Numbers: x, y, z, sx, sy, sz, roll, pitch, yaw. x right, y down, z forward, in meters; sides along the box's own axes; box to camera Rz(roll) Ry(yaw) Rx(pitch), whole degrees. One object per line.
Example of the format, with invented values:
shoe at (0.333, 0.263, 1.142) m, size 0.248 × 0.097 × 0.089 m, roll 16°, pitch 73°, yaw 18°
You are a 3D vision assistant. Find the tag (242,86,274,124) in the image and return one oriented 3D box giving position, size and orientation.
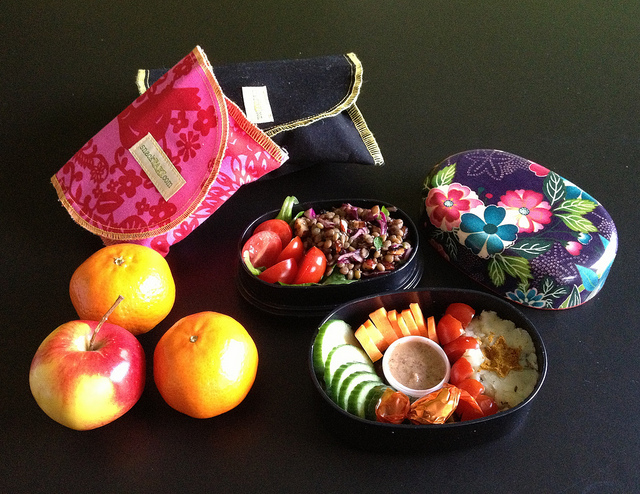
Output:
tag at (-0.154, -0.342, 1.553) m, size 0.073 × 0.026 × 0.118 m, roll -4°, pitch 82°, yaw -12°

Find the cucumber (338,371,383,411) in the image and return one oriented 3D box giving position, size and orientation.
cucumber at (0.075, 0.272, 1.223) m, size 0.017 × 0.067 × 0.069 m, roll 15°, pitch 20°, yaw -15°

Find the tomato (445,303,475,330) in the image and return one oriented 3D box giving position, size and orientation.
tomato at (0.279, 0.134, 1.297) m, size 0.049 × 0.047 × 0.036 m, roll 9°, pitch 88°, yaw 3°

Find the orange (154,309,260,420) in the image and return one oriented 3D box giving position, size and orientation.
orange at (-0.205, 0.245, 1.268) m, size 0.178 × 0.141 × 0.187 m, roll 28°, pitch 68°, yaw 21°

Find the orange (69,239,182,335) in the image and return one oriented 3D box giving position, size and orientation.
orange at (-0.390, 0.083, 1.293) m, size 0.185 × 0.151 × 0.189 m, roll -4°, pitch 39°, yaw -7°

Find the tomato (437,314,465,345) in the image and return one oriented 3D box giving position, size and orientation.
tomato at (0.266, 0.160, 1.301) m, size 0.047 × 0.044 × 0.055 m, roll -28°, pitch 21°, yaw 28°

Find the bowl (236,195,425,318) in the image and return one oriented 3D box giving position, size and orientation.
bowl at (0.018, 0.023, 1.370) m, size 0.334 × 0.104 × 0.252 m, roll -9°, pitch 58°, yaw 0°

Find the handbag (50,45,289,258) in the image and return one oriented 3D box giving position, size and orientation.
handbag at (-0.343, -0.175, 1.596) m, size 0.400 × 0.128 × 0.524 m, roll 45°, pitch 96°, yaw 12°

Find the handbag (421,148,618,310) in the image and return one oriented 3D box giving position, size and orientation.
handbag at (0.432, -0.015, 1.483) m, size 0.395 × 0.122 × 0.286 m, roll 27°, pitch 69°, yaw 24°

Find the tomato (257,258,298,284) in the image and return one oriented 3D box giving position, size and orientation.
tomato at (-0.091, 0.049, 1.349) m, size 0.057 × 0.058 × 0.036 m, roll -34°, pitch 80°, yaw 20°

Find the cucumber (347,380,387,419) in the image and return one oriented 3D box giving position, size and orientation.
cucumber at (0.077, 0.276, 1.197) m, size 0.057 × 0.014 × 0.057 m, roll -4°, pitch 80°, yaw -33°

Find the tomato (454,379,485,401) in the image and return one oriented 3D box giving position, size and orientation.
tomato at (0.284, 0.265, 1.215) m, size 0.036 × 0.035 × 0.028 m, roll -3°, pitch 85°, yaw 5°

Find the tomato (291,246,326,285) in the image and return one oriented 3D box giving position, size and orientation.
tomato at (-0.023, 0.044, 1.360) m, size 0.061 × 0.044 × 0.090 m, roll 16°, pitch 67°, yaw 9°

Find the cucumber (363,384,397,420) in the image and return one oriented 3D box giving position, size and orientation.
cucumber at (0.108, 0.279, 1.173) m, size 0.055 × 0.013 × 0.057 m, roll 14°, pitch 74°, yaw -2°

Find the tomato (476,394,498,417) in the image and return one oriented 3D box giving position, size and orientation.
tomato at (0.309, 0.292, 1.211) m, size 0.034 × 0.021 × 0.038 m, roll -16°, pitch 61°, yaw -19°

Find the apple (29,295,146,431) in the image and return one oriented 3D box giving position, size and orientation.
apple at (-0.414, 0.204, 1.255) m, size 0.210 × 0.291 × 0.211 m, roll 5°, pitch 26°, yaw -23°

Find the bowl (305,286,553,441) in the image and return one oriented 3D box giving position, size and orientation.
bowl at (0.192, 0.207, 1.237) m, size 0.376 × 0.095 × 0.284 m, roll 2°, pitch 51°, yaw 3°
